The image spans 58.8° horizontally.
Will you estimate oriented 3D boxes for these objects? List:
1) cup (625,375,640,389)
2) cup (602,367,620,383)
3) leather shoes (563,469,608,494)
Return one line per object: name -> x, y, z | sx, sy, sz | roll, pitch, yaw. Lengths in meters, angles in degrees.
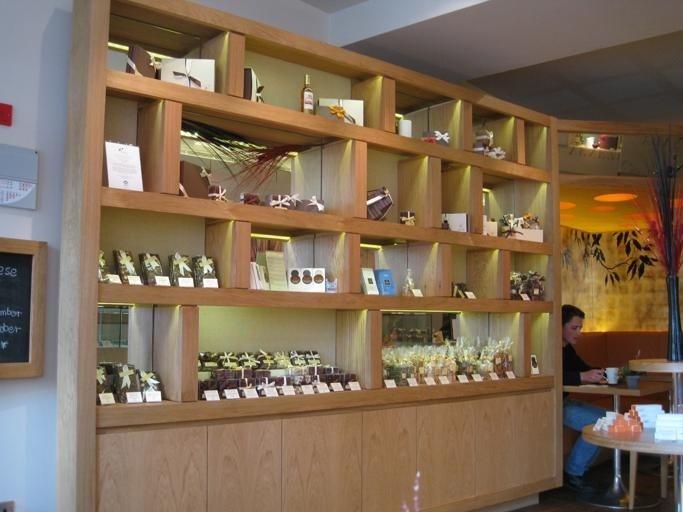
cup -> 2.382, 1.023, 4.998 | 0.127, 0.095, 0.105 | 9, -10, -44
cup -> 2.275, 1.003, 5.180 | 0.160, 0.165, 0.135 | -2, -5, 30
leather shoes -> 2.131, 1.973, 5.338 | 0.136, 0.241, 0.349 | 4, -14, -33
